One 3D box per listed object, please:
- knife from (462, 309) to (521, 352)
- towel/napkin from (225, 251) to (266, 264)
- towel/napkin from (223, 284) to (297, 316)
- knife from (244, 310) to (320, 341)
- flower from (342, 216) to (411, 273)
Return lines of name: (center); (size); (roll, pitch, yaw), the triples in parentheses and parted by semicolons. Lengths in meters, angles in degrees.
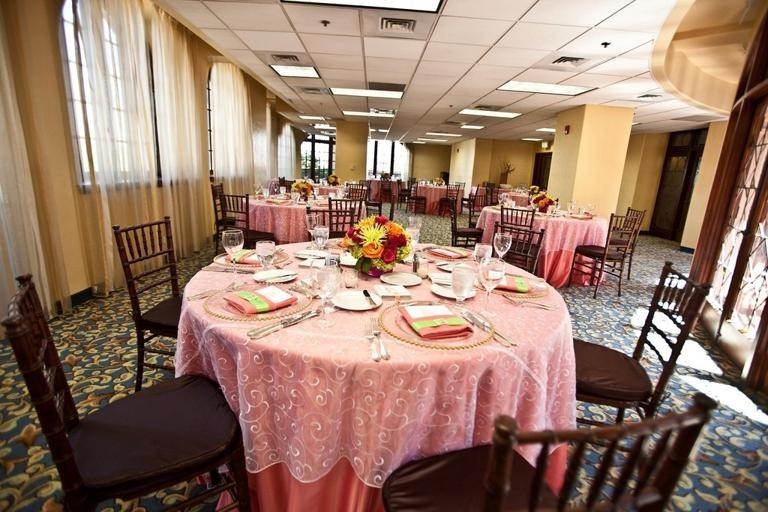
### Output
knife: (0.713, 0.496, 3.200); (0.131, 0.027, 0.613); (-11, 21, -20)
towel/napkin: (-1.157, 0.021, 3.852); (0.178, 0.052, 0.178); (1, 11, -4)
towel/napkin: (-0.849, 0.301, 3.304); (0.266, 0.062, 0.259); (12, 15, 40)
knife: (-0.655, 0.452, 3.180); (0.150, 0.059, 0.605); (17, 28, 42)
flower: (-0.073, -0.046, 3.769); (0.477, 0.412, 0.462); (-9, 26, -23)
